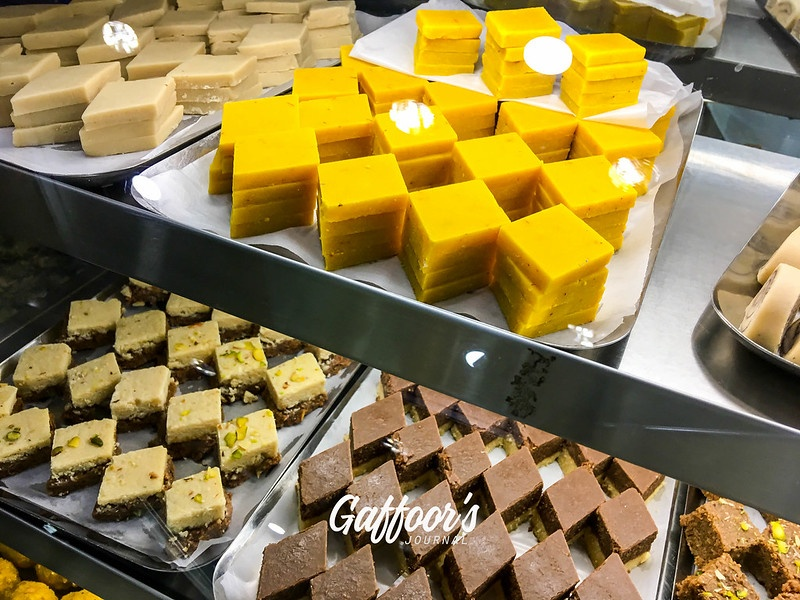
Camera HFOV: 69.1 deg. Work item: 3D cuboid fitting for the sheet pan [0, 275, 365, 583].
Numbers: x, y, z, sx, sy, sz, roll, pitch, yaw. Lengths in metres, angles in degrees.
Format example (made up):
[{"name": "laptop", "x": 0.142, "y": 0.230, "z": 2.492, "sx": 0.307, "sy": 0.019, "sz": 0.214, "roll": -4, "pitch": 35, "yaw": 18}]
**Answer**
[{"name": "sheet pan", "x": -0.737, "y": 0.511, "z": 2.011, "sx": 0.886, "sy": 0.099, "sz": 0.889, "roll": 20, "pitch": 45, "yaw": 19}]
